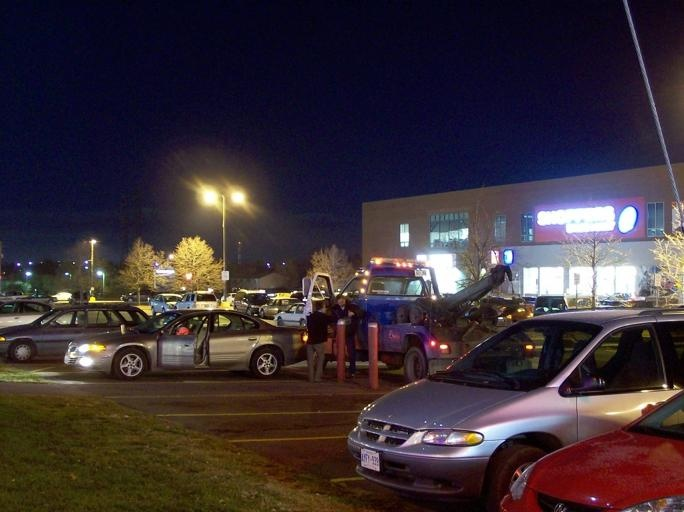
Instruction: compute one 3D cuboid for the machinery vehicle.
[{"bbox_3d":[1.691,1.406,14.434,2.876,1.919,4.061,2,0,-34],"label":"machinery vehicle"}]
